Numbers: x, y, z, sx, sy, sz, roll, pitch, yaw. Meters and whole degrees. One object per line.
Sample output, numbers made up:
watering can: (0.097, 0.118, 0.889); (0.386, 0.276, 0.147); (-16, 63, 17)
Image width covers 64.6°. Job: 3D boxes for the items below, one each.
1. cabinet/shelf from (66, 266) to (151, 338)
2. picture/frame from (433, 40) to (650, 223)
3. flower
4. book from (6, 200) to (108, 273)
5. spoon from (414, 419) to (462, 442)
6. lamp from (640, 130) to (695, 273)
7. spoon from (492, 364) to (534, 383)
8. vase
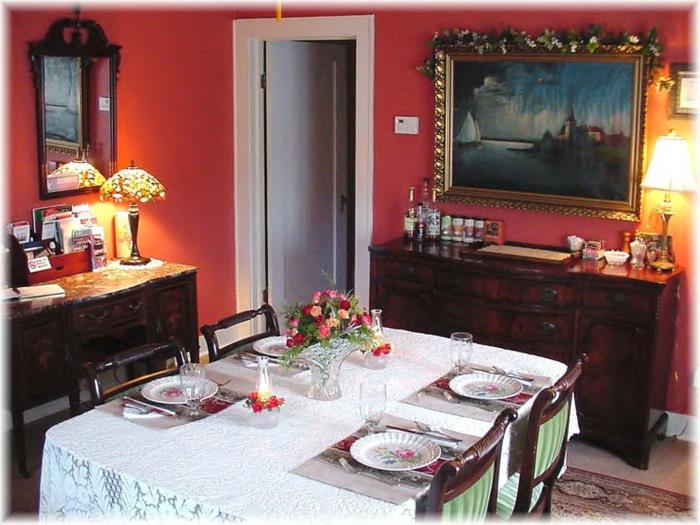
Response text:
cabinet/shelf: (-1.611, 0.249, 3.577); (0.374, 0.225, 0.444); (10, 16, 41)
picture/frame: (1.372, -0.934, 3.810); (1.311, 0.934, 0.060); (6, 14, 26)
flower: (-0.064, 0.244, 2.249); (0.323, 0.228, 0.324); (-1, 3, 7)
book: (-1.924, -0.165, 3.581); (0.159, 0.301, 0.456); (5, 12, 30)
spoon: (0.301, 0.586, 1.932); (0.049, 0.026, 0.149); (-20, 17, -37)
lamp: (1.991, -0.394, 3.467); (0.296, 0.841, 0.321); (9, 17, 30)
spoon: (0.711, 0.495, 2.406); (0.195, 0.023, 0.052); (12, 28, 18)
vase: (-0.089, 0.404, 2.224); (0.249, 0.163, 0.243); (-1, 1, -40)
